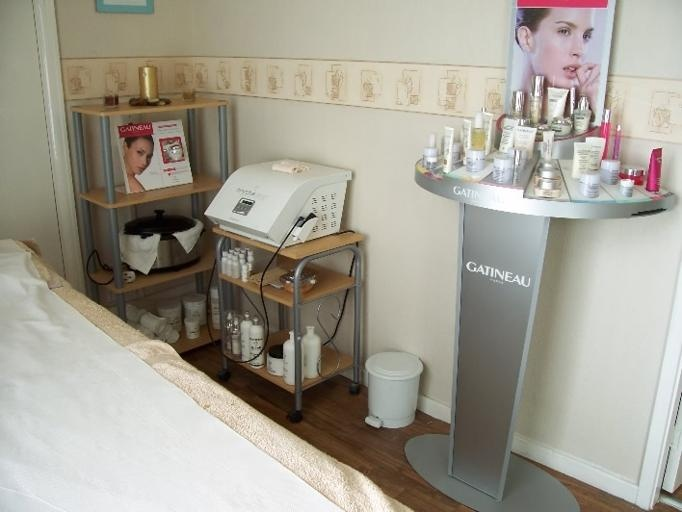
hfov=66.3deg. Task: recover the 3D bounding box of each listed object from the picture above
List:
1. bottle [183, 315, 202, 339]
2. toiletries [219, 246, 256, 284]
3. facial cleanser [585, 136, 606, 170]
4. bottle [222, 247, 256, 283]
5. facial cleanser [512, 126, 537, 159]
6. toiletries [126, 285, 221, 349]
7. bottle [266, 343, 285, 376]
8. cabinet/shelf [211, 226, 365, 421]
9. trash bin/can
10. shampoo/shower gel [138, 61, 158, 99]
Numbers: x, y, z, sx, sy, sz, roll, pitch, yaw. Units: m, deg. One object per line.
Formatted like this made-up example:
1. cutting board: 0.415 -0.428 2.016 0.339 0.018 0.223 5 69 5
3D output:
1. bottle: -0.880 0.419 3.158 0.117 0.133 0.118 -1 21 -10
2. toiletries: -0.514 0.025 2.646 0.157 0.157 0.164 -9 18 -34
3. facial cleanser: 0.844 -0.348 1.749 0.063 0.099 0.068 8 21 24
4. bottle: -0.515 0.023 2.637 0.157 0.159 0.162 -7 17 -30
5. facial cleanser: 0.630 -0.390 1.804 0.078 0.108 0.198 6 20 18
6. toiletries: -0.980 0.371 3.031 0.437 0.143 0.326 8 30 7
7. bottle: -0.320 0.517 2.590 0.126 0.122 0.128 0 20 -4
8. cabinet/shelf: -0.096 0.399 2.613 0.455 0.599 0.368 -6 28 -46
9. trash bin/can: 0.238 0.639 2.609 0.307 0.285 0.321 17 28 36
10. shampoo/shower gel: -1.019 -0.918 2.772 0.094 0.170 0.117 -8 20 -19
